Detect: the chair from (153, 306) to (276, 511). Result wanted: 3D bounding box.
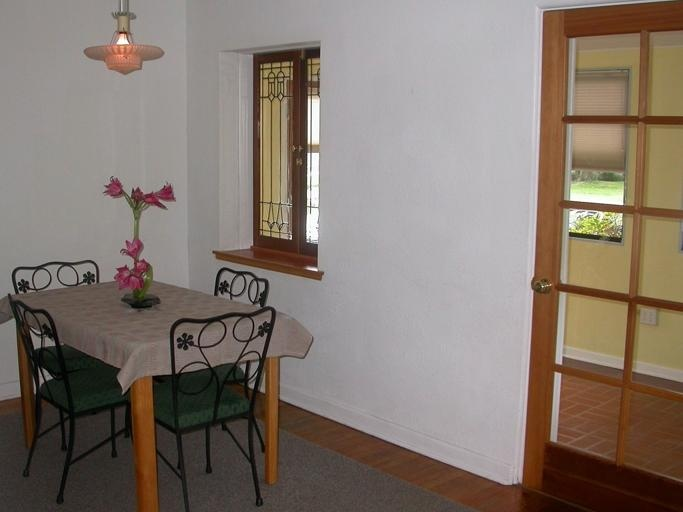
[{"bbox_3d":[-0.724,0.797,3.231,0.715,1.101,0.834,3,10,13],"label":"chair"}]

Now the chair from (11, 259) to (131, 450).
[{"bbox_3d":[-1.549,0.777,3.370,0.552,1.000,0.483,-5,10,-38],"label":"chair"}]

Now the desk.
[{"bbox_3d":[-1.031,0.267,3.291,1.116,0.905,1.573,-6,12,-43],"label":"desk"}]
